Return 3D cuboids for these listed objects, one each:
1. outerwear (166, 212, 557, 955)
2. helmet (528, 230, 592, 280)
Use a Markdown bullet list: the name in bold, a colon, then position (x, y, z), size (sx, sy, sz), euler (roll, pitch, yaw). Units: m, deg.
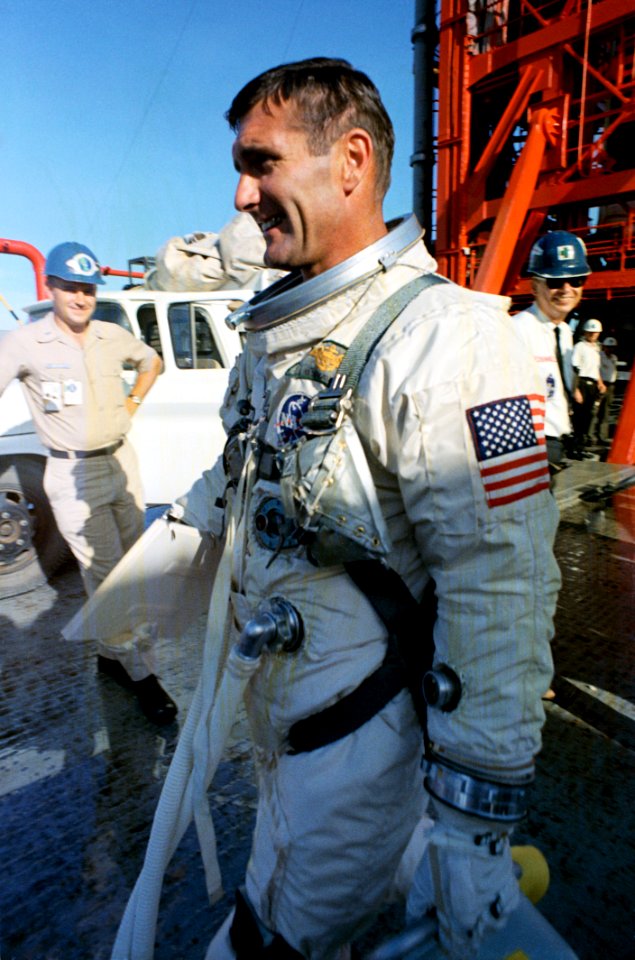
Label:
- **outerwear**: position (0.099, 0.205, 1.151), size (0.589, 1.231, 0.390), euler (6, 14, 32)
- **helmet**: position (1.245, -1.168, 3.581), size (0.272, 0.201, 0.381), euler (-1, 32, 10)
